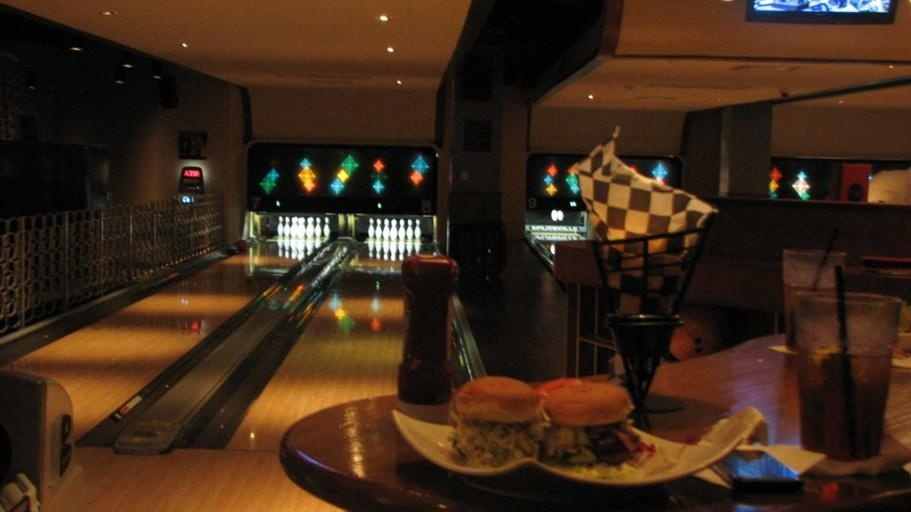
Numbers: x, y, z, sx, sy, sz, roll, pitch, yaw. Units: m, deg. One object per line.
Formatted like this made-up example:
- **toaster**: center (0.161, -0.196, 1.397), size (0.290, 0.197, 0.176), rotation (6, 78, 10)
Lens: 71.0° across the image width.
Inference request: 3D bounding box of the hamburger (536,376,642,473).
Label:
- **hamburger**: center (0.308, 0.388, 1.508), size (0.217, 0.119, 0.216), rotation (6, 12, 34)
